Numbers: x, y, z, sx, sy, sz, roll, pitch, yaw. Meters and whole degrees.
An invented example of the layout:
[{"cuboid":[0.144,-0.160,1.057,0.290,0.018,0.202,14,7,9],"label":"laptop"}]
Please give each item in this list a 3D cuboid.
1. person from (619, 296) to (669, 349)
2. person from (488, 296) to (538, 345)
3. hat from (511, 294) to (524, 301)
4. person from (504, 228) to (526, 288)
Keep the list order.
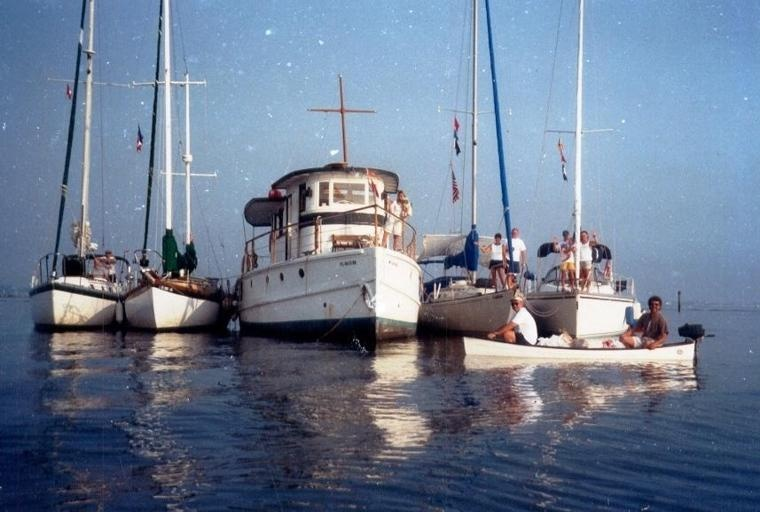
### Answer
[{"cuboid":[6.002,1.641,22.238,0.822,1.543,0.876,2,6,-37],"label":"person"},{"cuboid":[3.035,1.686,22.724,1.013,1.615,0.699,1,7,-11],"label":"person"},{"cuboid":[3.160,0.958,22.788,0.263,0.099,0.265,-1,-4,-34],"label":"hat"},{"cuboid":[3.742,0.111,27.430,0.539,1.806,0.539,-3,24,-2],"label":"person"}]
